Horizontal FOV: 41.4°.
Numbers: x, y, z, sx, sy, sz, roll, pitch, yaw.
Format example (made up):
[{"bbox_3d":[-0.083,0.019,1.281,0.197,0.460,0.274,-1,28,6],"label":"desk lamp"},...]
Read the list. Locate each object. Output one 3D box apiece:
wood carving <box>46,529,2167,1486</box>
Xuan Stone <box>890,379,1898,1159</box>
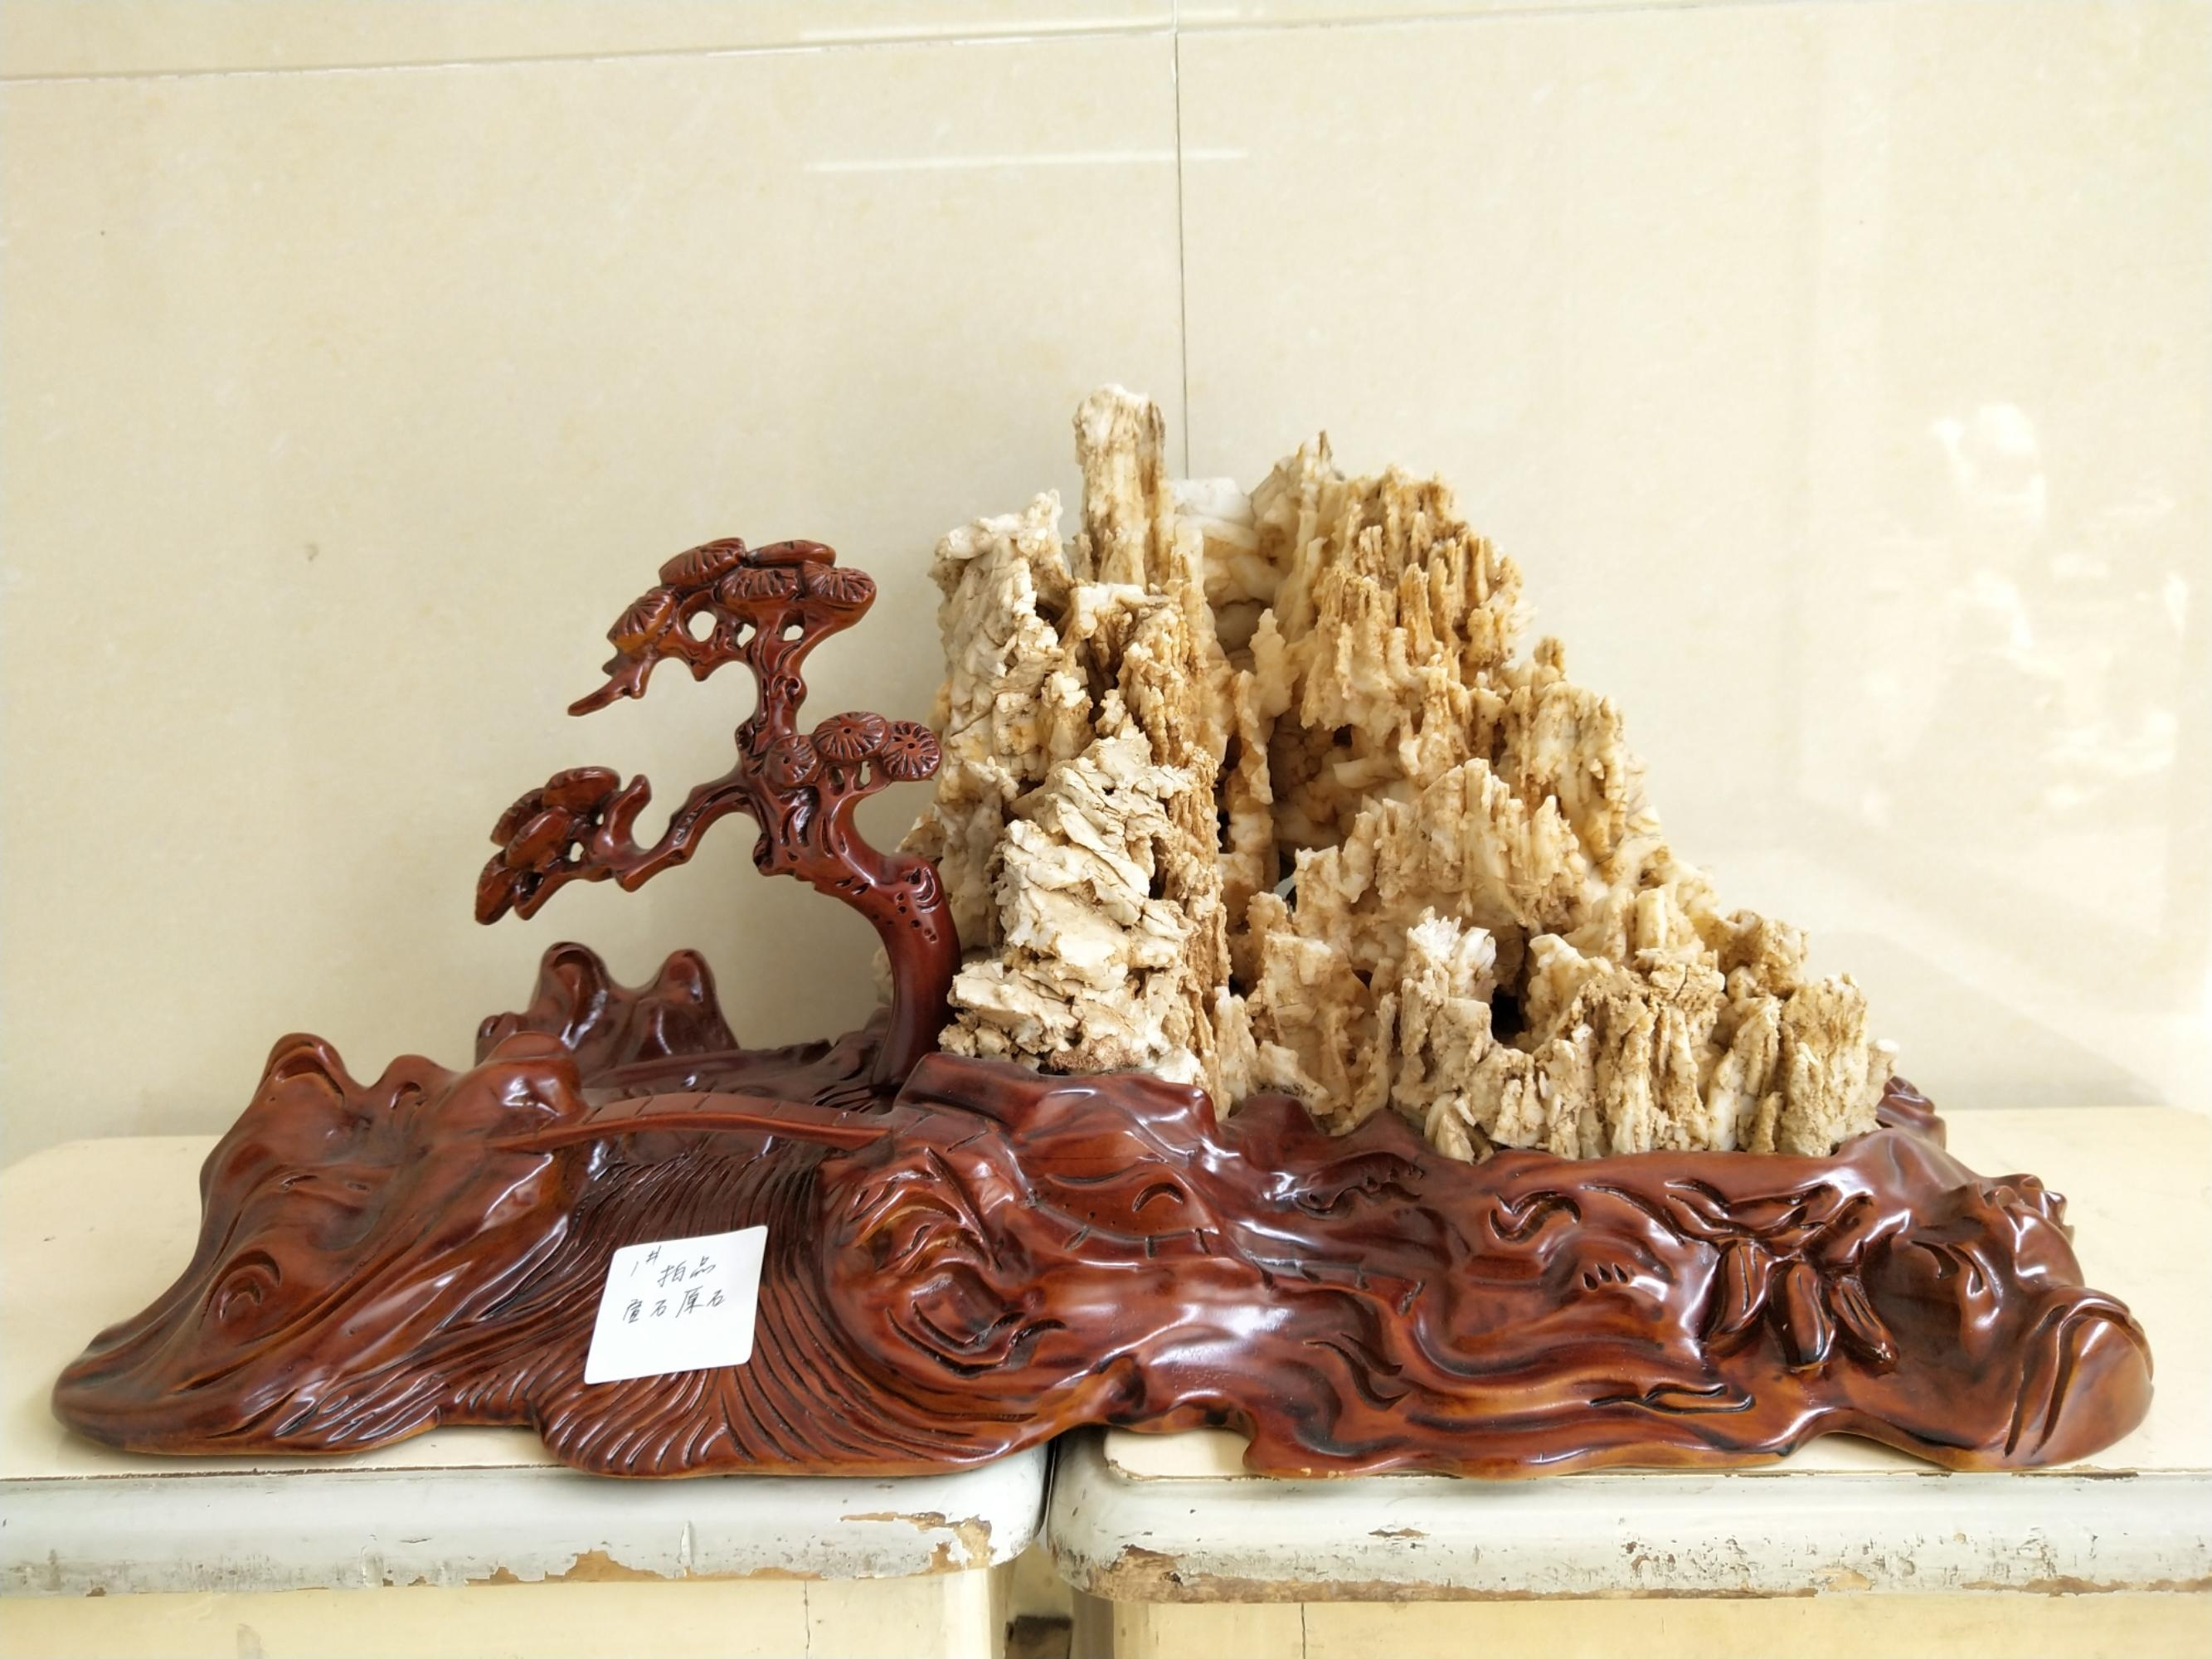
[{"bbox_3d":[-0.015,0.536,3.762,2.514,0.600,0.237,0,-24,1],"label":"wood carving"},{"bbox_3d":[0.395,-0.090,4.130,1.335,1.063,0.737,4,9,13],"label":"Xuan Stone"}]
